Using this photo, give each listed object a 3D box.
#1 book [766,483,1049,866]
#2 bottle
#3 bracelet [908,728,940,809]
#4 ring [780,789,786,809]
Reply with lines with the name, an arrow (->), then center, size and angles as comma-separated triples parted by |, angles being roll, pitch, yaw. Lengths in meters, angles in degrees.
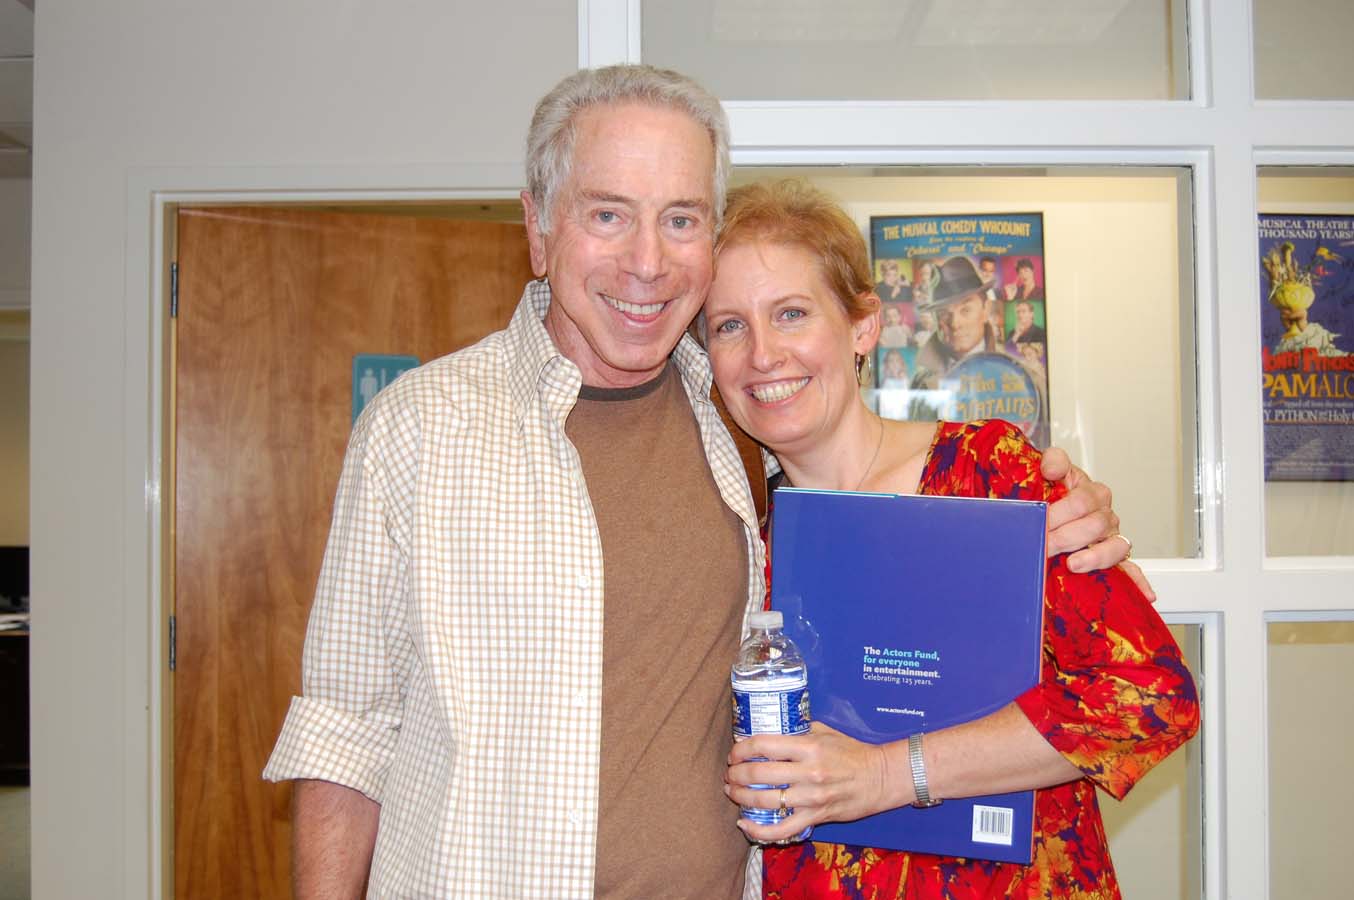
book -> 0.570, 0.558, 3.253 | 0.673, 0.866, 0.087 | 0, -11, 22
bottle -> 0.236, 0.682, 3.199 | 0.189, 0.559, 0.159 | 0, -1, 2
bracelet -> 0.598, 0.798, 3.179 | 0.091, 0.148, 0.153 | 0, 0, 7
ring -> 0.259, 0.855, 3.153 | 0.015, 0.040, 0.029 | 2, -10, 3
